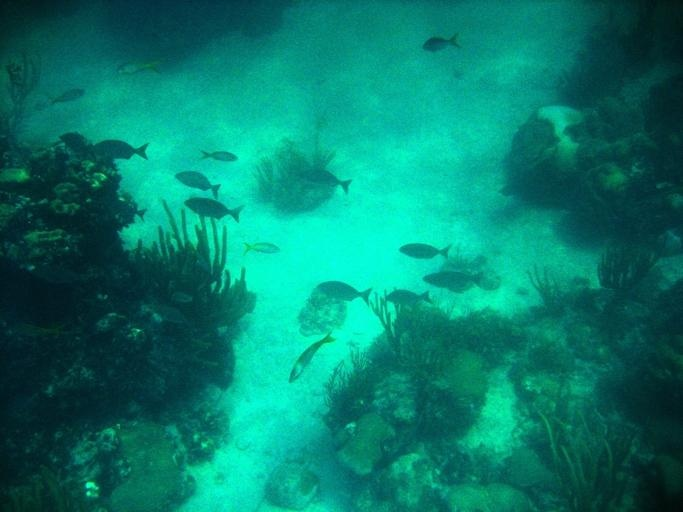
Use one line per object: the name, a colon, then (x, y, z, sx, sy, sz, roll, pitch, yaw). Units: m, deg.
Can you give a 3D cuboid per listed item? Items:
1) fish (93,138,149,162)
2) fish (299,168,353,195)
fish: (-4.862, -2.172, 14.246, 1.008, 1.042, 0.405, -2, -68, 0)
fish: (-0.225, -1.772, 15.445, 1.393, 0.575, 0.484, 14, -84, 0)
